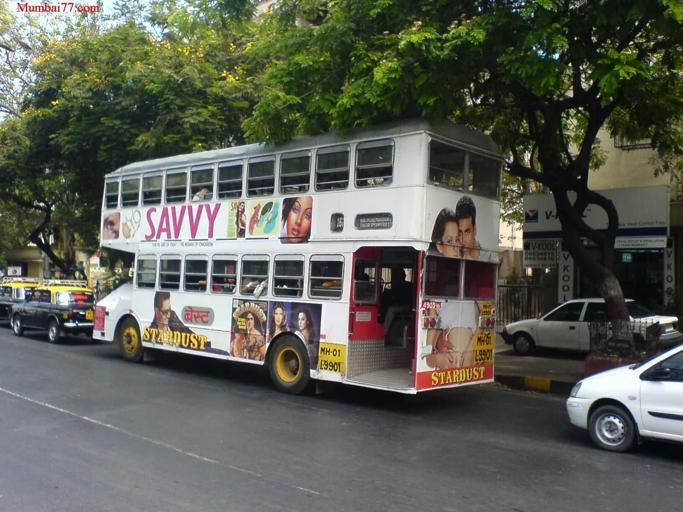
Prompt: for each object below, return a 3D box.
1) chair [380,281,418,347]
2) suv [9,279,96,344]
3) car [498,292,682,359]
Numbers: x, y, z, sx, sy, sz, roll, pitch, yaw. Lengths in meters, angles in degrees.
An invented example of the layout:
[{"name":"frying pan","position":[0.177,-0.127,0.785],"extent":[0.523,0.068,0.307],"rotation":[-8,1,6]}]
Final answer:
[{"name":"chair","position":[1.265,1.433,15.126],"extent":[0.555,1.138,0.849],"rotation":[6,-6,-14]},{"name":"suv","position":[-10.031,1.873,23.377],"extent":[3.227,1.942,1.695],"rotation":[1,0,29]},{"name":"car","position":[7.002,2.422,19.663],"extent":[4.127,1.680,1.960],"rotation":[0,0,40]}]
